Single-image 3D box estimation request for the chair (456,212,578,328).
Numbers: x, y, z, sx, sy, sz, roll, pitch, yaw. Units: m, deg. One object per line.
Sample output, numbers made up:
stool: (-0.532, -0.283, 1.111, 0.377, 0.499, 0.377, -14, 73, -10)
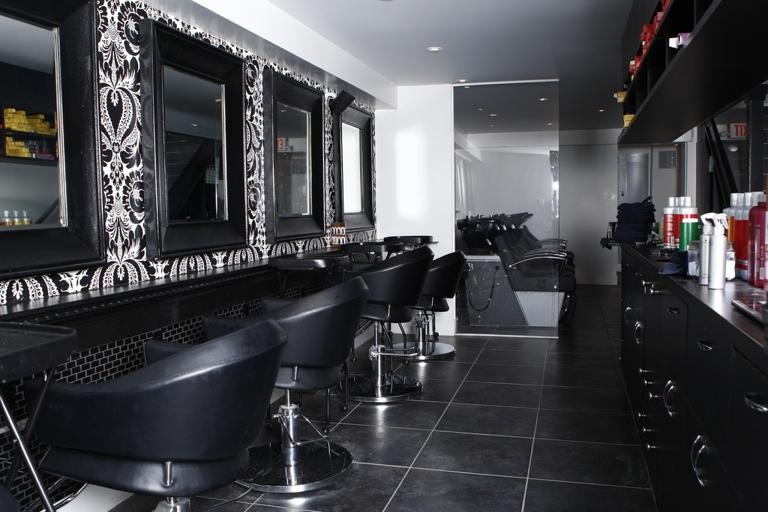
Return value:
chair: (1.892, 0.147, 7.640, 1.614, 1.763, 1.269, -1, 2, 11)
